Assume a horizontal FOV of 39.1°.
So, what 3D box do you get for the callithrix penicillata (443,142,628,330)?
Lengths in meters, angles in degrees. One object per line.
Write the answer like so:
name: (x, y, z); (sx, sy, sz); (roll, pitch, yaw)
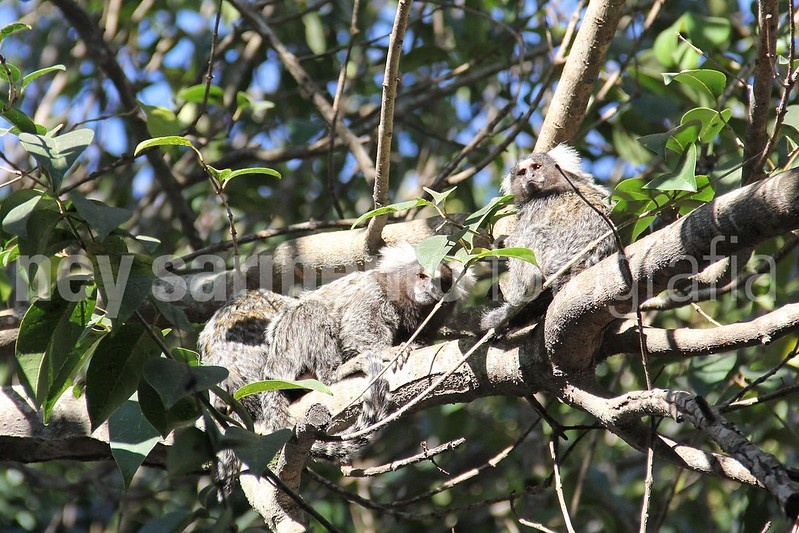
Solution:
callithrix penicillata: (1.090, -0.185, 9.066); (1.409, 1.357, 0.595); (-5, -10, 29)
